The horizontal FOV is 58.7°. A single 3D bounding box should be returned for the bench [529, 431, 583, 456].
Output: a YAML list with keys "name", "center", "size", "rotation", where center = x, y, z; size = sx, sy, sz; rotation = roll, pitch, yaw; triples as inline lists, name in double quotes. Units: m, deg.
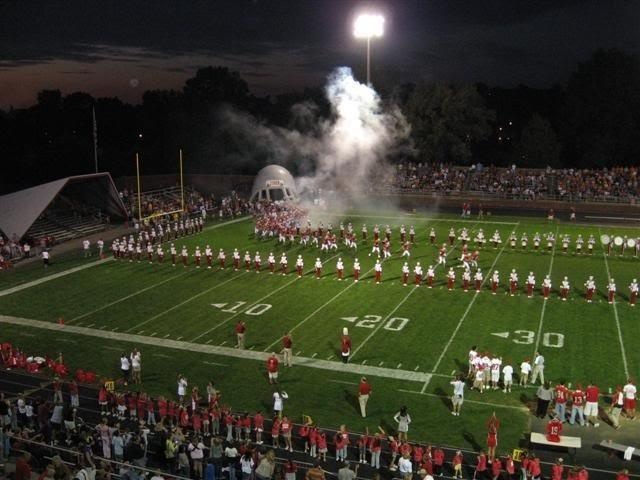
- name: "bench"
  center: [6.570, 5.662, 15.797]
  size: [1.357, 0.490, 0.790]
  rotation: [0, -7, 20]

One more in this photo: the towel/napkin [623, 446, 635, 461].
- name: "towel/napkin"
  center: [8.402, 5.742, 15.374]
  size: [0.289, 0.304, 0.324]
  rotation: [-2, 20, 10]
